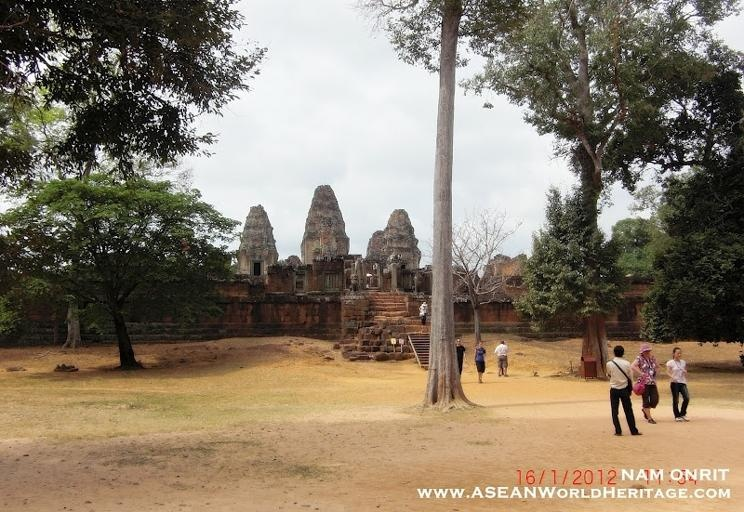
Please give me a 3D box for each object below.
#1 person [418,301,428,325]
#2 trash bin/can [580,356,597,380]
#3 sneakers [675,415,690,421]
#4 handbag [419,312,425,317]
[{"bbox_3d":[2.888,3.144,34.455,0.534,1.169,1.629,0,0,4],"label":"person"},{"bbox_3d":[9.105,4.677,26.087,0.596,0.871,0.459,0,1,9],"label":"trash bin/can"},{"bbox_3d":[8.759,4.571,17.587,0.350,0.153,0.141,-5,-5,36],"label":"sneakers"},{"bbox_3d":[2.799,3.121,33.965,0.278,0.255,0.480,0,0,5],"label":"handbag"}]
